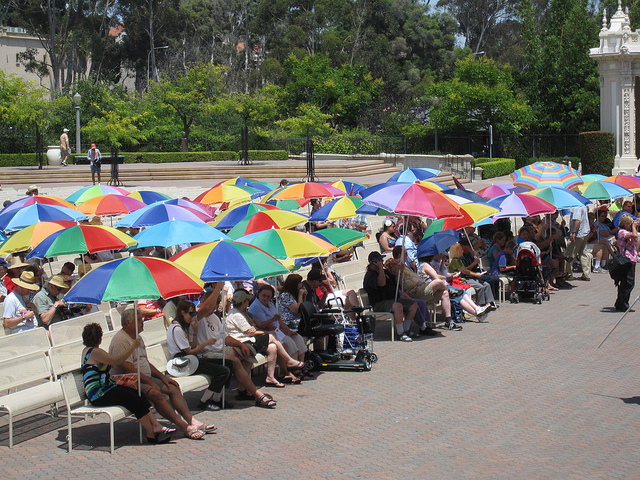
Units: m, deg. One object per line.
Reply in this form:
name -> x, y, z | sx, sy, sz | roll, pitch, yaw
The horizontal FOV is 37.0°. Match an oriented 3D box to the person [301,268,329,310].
person -> -0.090, 1.098, 19.211 | 0.588, 1.074, 0.487 | 2, 17, 0

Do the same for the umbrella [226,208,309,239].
umbrella -> -1.118, -0.381, 20.314 | 0.895, 0.370, 0.931 | -7, 11, 40

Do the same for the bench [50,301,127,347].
bench -> -4.538, 1.672, 17.985 | 0.636, 0.295, 1.444 | 32, 28, 29

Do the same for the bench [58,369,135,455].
bench -> -3.873, 2.795, 16.267 | 0.888, 1.234, 1.802 | -2, 0, -2

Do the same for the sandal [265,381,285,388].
sandal -> -0.856, 2.698, 17.839 | 0.339, 0.145, 0.131 | 0, 1, 5

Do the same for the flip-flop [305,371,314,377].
flip-flop -> -0.209, 2.557, 18.310 | 0.027, 0.127, 0.201 | 3, 7, 41

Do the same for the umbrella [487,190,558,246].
umbrella -> 5.005, -0.461, 23.662 | 1.251, 1.175, 1.304 | 0, 12, -2

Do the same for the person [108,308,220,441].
person -> -2.642, 2.169, 15.941 | 2.351, 1.473, 0.766 | 22, 13, 30

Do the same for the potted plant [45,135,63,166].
potted plant -> -13.379, -4.253, 47.900 | 0.734, 0.940, 0.721 | 1, 1, 18

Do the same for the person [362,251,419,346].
person -> 1.515, 1.165, 20.410 | 1.047, 2.016, 0.952 | -9, -4, 36

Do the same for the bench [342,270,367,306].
bench -> 0.763, 1.067, 21.326 | 0.631, 0.722, 0.509 | -3, 4, -23

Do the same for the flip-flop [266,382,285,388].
flip-flop -> -0.866, 2.698, 17.839 | 0.301, 0.118, 0.105 | 0, 1, 8

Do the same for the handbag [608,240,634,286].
handbag -> 6.865, 0.596, 22.103 | 0.740, 0.743, 0.444 | 12, 6, -37

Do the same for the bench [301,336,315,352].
bench -> -0.270, 1.999, 18.772 | 0.204, 0.285, 0.283 | 0, -2, -21

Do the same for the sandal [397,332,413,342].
sandal -> 1.742, 2.048, 20.204 | 0.153, 0.109, 0.269 | -1, -2, -36

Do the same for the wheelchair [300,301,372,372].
wheelchair -> 0.322, 1.872, 18.825 | 1.326, 1.259, 1.050 | 0, 0, 12

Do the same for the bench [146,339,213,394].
bench -> -2.550, 1.933, 16.799 | 0.679, 0.852, 1.305 | 0, 2, 31

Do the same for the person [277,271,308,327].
person -> -0.525, 1.280, 18.843 | 0.646, 1.339, 0.611 | -9, 20, -4

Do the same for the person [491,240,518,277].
person -> 4.544, 0.459, 23.599 | 0.692, 1.006, 0.588 | 2, 6, -18

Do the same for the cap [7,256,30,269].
cap -> -6.274, 0.510, 19.780 | 0.403, 0.165, 0.373 | -16, 0, 26

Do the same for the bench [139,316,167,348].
bench -> -3.248, 1.736, 18.559 | 0.588, 0.339, 0.568 | -25, 2, -28

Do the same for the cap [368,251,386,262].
cap -> 1.145, 0.335, 20.294 | 0.264, 0.153, 0.186 | -21, 3, 4

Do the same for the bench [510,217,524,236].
bench -> 5.931, -0.409, 29.012 | 0.420, 0.675, 0.426 | -8, 14, -18

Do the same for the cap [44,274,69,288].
cap -> -5.107, 0.802, 18.608 | 0.284, 0.104, 0.285 | 15, 4, -27

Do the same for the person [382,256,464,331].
person -> 2.389, 0.945, 21.088 | 1.407, 2.190, 0.881 | -2, 13, 45

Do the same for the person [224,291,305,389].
person -> -1.113, 1.852, 17.734 | 1.305, 1.820, 0.512 | -1, 5, -7

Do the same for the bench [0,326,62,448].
bench -> -4.956, 2.566, 16.318 | 0.622, 1.181, 1.564 | 6, 10, 28

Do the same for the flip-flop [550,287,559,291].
flip-flop -> 5.907, 1.244, 24.167 | 0.186, 0.070, 0.082 | -3, 5, -20
